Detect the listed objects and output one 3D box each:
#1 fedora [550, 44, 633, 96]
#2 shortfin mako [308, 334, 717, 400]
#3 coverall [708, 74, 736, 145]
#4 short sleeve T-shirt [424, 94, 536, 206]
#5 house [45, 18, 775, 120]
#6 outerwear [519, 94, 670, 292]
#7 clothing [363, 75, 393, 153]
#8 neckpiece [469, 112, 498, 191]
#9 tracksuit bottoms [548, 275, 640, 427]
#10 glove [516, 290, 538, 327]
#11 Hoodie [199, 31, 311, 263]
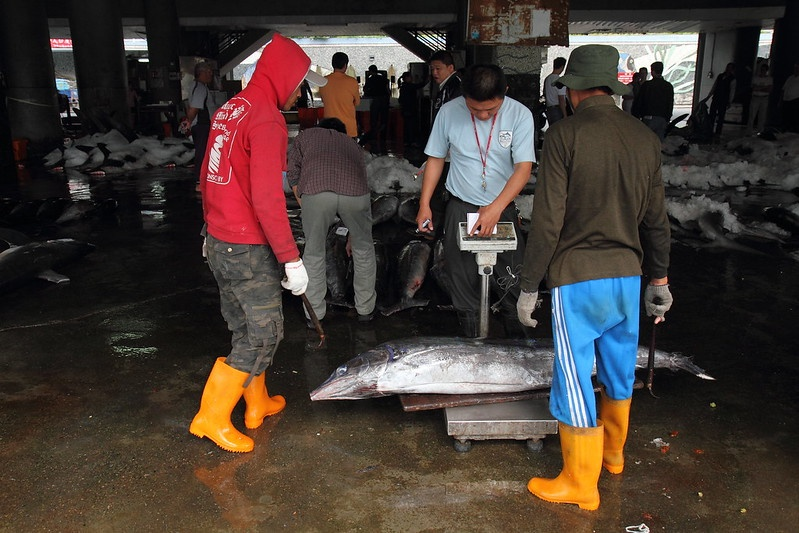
[{"bbox_3d":[1.155,-1.158,3.124,0.544,0.257,0.407,-5,23,-21],"label":"fedora"},{"bbox_3d":[0.797,0.707,3.567,2.496,0.491,0.393,-1,41,-3],"label":"shortfin mako"},{"bbox_3d":[10.503,-5.399,17.165,0.560,2.260,3.492,10,22,28],"label":"coverall"},{"bbox_3d":[0.630,-0.921,4.075,0.883,0.753,0.445,4,33,0],"label":"short sleeve T-shirt"},{"bbox_3d":[-0.258,-5.714,14.849,12.022,2.509,11.080,-8,19,-19],"label":"house"},{"bbox_3d":[1.168,-0.396,2.974,0.722,1.086,0.610,9,23,25],"label":"outerwear"},{"bbox_3d":[-0.679,-5.076,16.520,0.857,2.323,0.746,1,16,0],"label":"clothing"},{"bbox_3d":[0.625,-0.860,3.984,0.195,0.539,0.117,4,22,13],"label":"neckpiece"},{"bbox_3d":[1.104,0.484,2.961,0.489,0.821,0.342,2,21,10],"label":"tracksuit bottoms"},{"bbox_3d":[0.767,0.257,3.147,0.148,0.218,0.124,2,6,-25],"label":"glove"},{"bbox_3d":[-0.955,-0.741,3.357,0.734,1.399,0.672,-4,21,-6],"label":"Hoodie"}]
